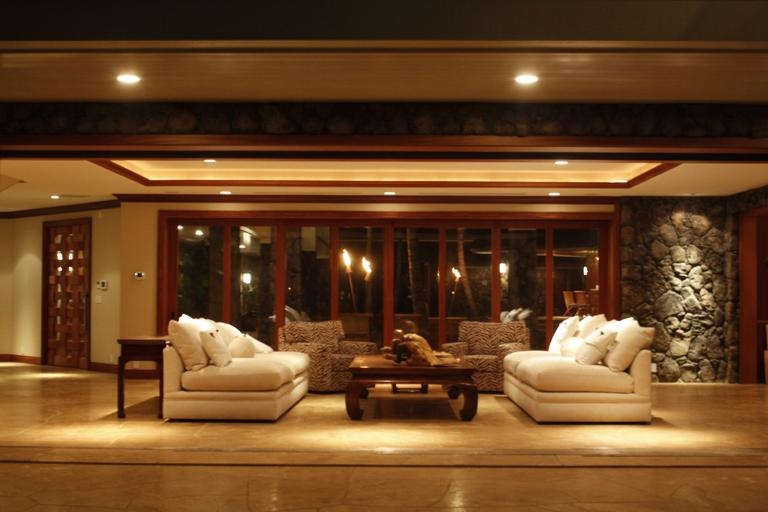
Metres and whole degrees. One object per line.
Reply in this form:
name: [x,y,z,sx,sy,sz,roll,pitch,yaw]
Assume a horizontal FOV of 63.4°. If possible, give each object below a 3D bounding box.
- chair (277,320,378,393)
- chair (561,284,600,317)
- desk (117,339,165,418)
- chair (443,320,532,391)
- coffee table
chair: [-0.910,1.517,9.348,1.261,1.027,1.198,-5,-9,21]
chair: [3.227,0.741,10.241,0.554,0.569,0.498,0,-6,16]
desk: [-2.934,1.453,7.469,0.545,0.983,0.800,-4,7,-32]
chair: [1.556,1.501,9.340,1.240,0.920,1.084,-1,-11,12]
coffee table: [0.341,1.612,7.882,1.524,0.742,1.298,1,5,2]
